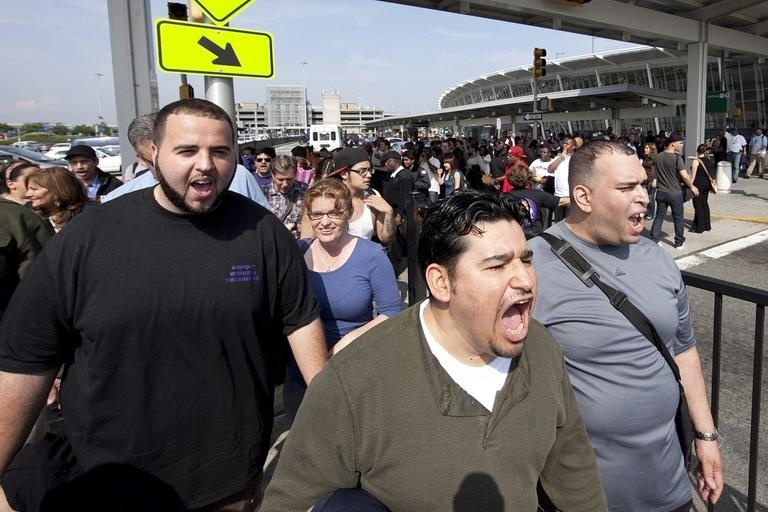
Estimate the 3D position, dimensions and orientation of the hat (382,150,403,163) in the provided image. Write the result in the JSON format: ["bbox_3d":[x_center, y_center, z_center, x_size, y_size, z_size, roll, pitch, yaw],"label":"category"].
[{"bbox_3d":[0.185,-2.025,10.291,0.409,0.219,0.546,-2,9,-12],"label":"hat"}]

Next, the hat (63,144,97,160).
[{"bbox_3d":[-4.025,-1.373,6.788,0.243,0.173,0.333,-6,-9,3],"label":"hat"}]

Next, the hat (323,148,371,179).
[{"bbox_3d":[-0.381,-1.044,5.581,0.346,0.175,0.264,-30,7,15],"label":"hat"}]

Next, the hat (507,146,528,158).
[{"bbox_3d":[3.073,-2.347,11.508,0.494,0.194,0.355,7,14,2],"label":"hat"}]
